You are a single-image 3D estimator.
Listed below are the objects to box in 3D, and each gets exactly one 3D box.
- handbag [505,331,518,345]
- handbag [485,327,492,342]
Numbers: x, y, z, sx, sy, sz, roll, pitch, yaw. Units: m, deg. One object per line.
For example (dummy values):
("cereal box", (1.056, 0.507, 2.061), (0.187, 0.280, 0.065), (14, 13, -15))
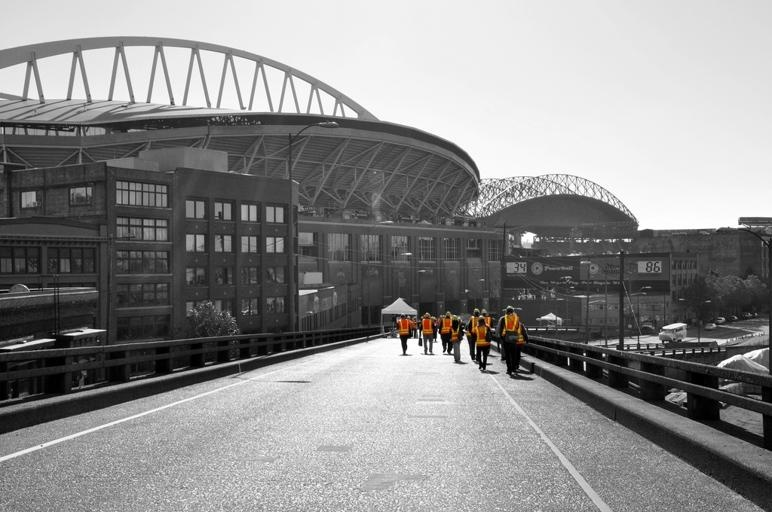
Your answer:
("handbag", (4.060, 2.640, 21.634), (0.384, 0.333, 0.155), (6, 15, 5))
("handbag", (3.702, 2.910, 24.496), (0.348, 0.498, 0.170), (-5, 1, -38))
